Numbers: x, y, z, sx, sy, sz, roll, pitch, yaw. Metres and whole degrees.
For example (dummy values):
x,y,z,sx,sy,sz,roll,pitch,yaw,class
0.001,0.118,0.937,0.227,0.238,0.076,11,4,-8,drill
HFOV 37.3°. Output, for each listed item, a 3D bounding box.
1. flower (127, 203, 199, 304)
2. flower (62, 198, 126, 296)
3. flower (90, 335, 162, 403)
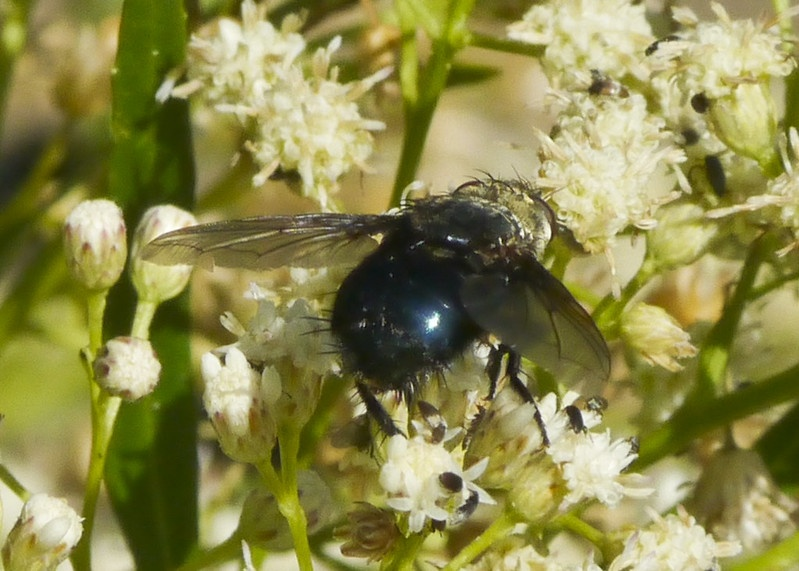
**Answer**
x,y,z,sx,sy,sz,roll,pitch,yaw,class
-0.421,-0.046,2.116,0.097,0.185,0.076,10,17,-10,flower
-0.530,-0.071,2.069,0.103,0.156,0.098,18,29,22,flower
-0.443,0.137,1.954,0.099,0.107,0.054,4,0,-29,flower
